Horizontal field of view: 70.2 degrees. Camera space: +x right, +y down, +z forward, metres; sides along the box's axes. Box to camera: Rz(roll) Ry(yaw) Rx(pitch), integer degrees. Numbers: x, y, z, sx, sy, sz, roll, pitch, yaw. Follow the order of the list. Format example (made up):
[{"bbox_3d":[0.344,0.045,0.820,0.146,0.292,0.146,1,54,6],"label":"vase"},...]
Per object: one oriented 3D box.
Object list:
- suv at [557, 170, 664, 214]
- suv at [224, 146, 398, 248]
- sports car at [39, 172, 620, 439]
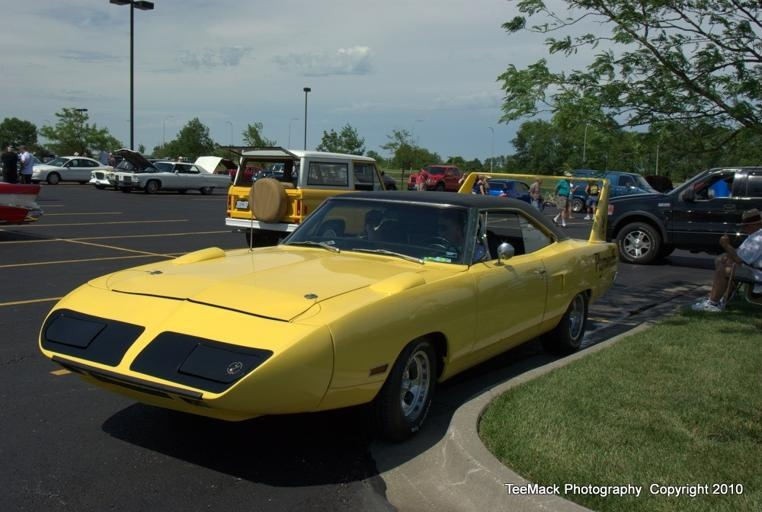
[{"bbox_3d":[13.043,-3.899,31.652,5.613,2.580,2.606,3,21,-3],"label":"suv"},{"bbox_3d":[-2.022,-1.603,14.275,4.731,2.132,2.643,-9,13,-37],"label":"suv"},{"bbox_3d":[0.262,0.371,5.449,2.336,1.592,5.507,4,6,43],"label":"sports car"}]
